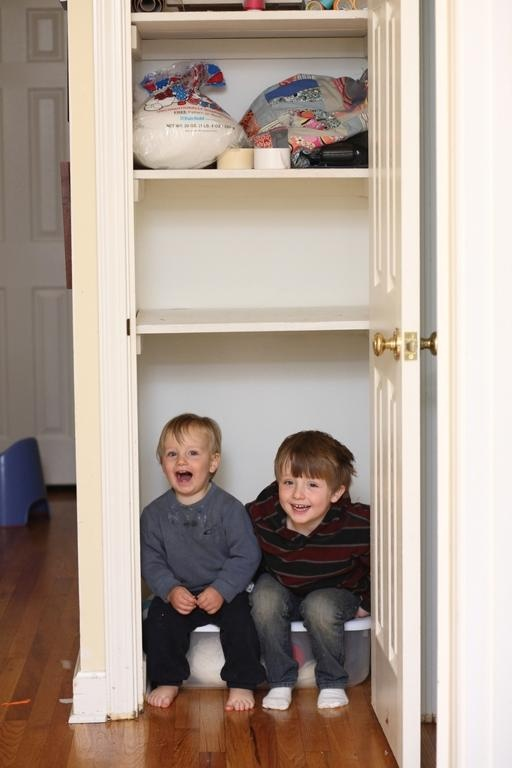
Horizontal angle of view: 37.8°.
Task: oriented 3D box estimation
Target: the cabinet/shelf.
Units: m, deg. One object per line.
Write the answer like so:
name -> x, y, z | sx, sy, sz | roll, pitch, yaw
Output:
cabinet/shelf -> -0.087, -0.152, 1.983 | 0.496, 1.401, 0.304 | 3, 15, -4
